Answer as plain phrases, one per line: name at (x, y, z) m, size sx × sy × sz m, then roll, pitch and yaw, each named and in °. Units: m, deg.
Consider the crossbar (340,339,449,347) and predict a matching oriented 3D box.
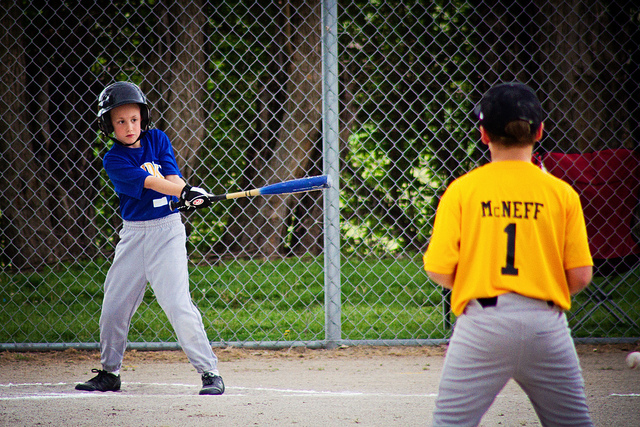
crossbar at (0.851, 1.469, 11.164) m, size 1.220 × 0.109 × 0.135 m, roll -1°, pitch 6°, yaw 0°
